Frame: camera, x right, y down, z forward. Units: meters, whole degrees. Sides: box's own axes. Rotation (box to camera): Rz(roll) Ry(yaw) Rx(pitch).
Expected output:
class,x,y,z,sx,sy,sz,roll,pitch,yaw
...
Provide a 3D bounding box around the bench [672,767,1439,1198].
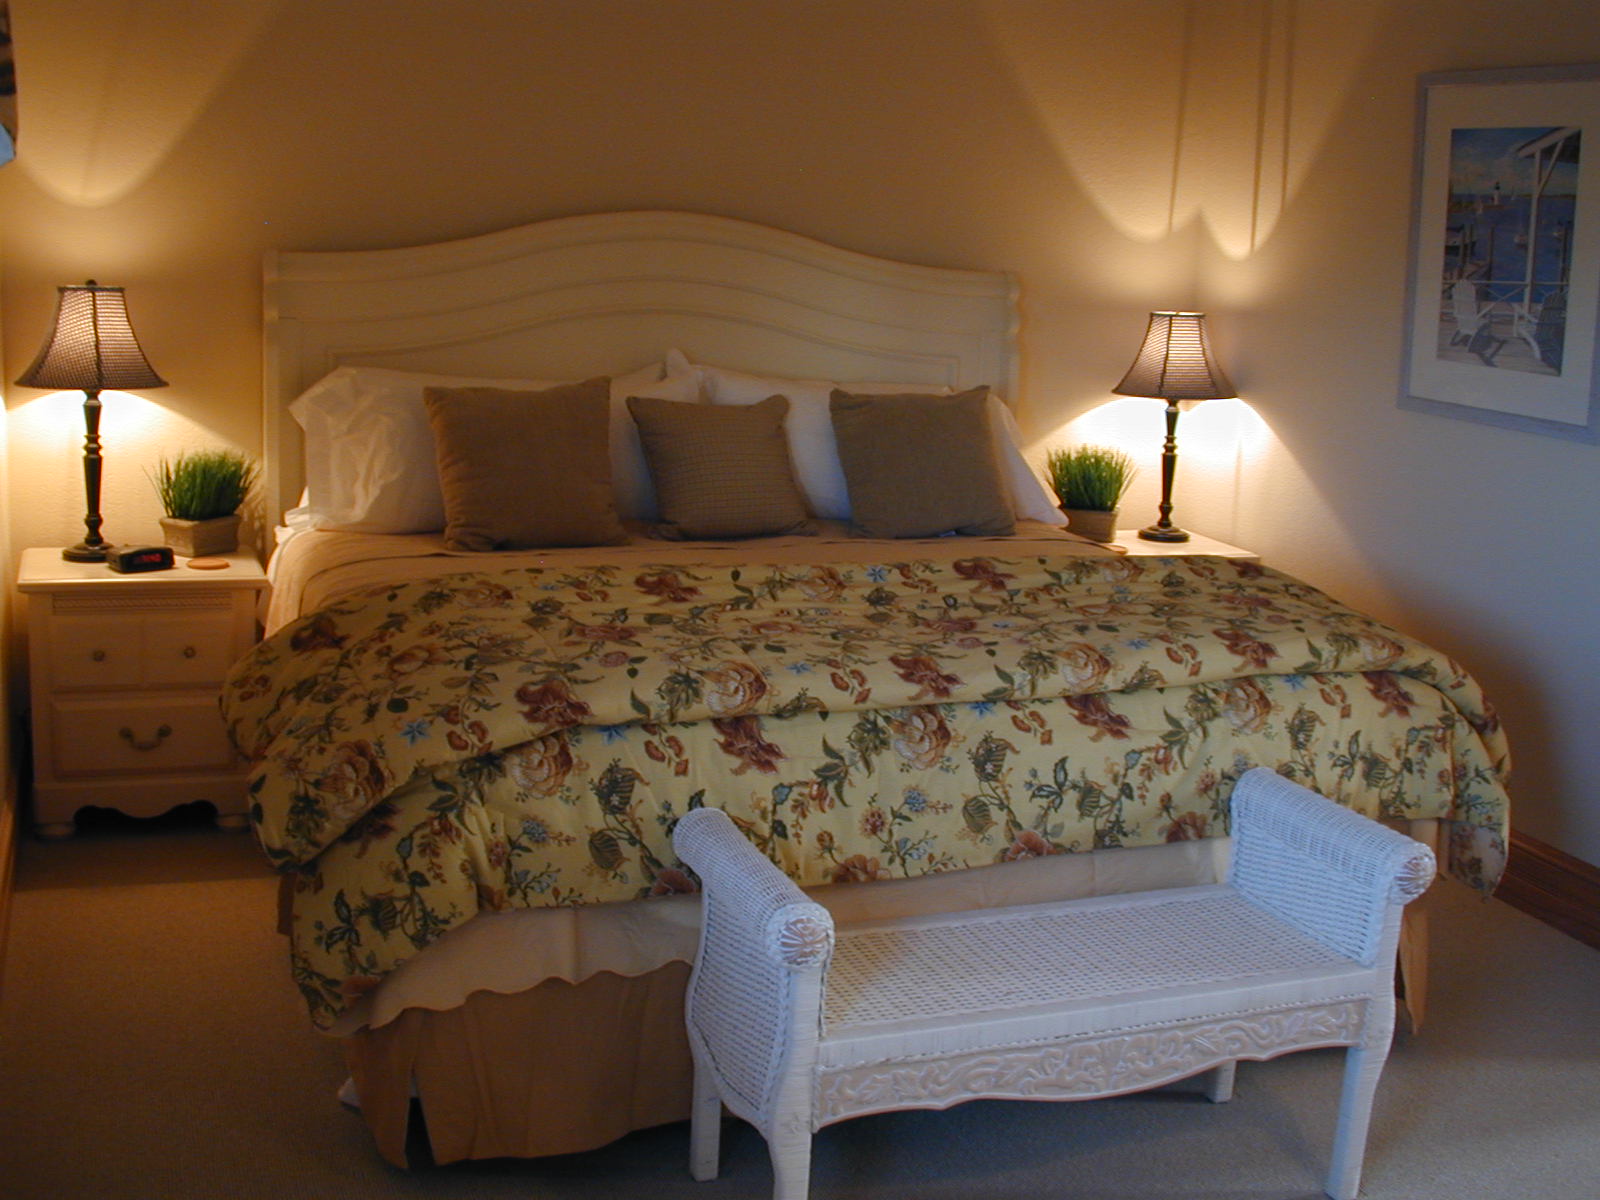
class,x,y,z,sx,sy,sz,roll,pitch,yaw
bench,0.485,0.772,2.418,1.347,0.819,0.413,-5,7,-15

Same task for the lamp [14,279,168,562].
class,x,y,z,sx,sy,sz,roll,pitch,yaw
lamp,-2.055,-0.524,3.781,0.328,0.809,0.240,-2,6,10

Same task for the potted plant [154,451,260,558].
class,x,y,z,sx,sy,sz,roll,pitch,yaw
potted plant,-1.823,-0.291,3.984,0.198,0.280,0.240,9,12,38

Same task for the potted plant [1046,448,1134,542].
class,x,y,z,sx,sy,sz,roll,pitch,yaw
potted plant,1.027,-0.402,4.728,0.348,0.370,0.317,7,10,44

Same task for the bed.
class,x,y,z,sx,sy,sz,roll,pitch,yaw
bed,-0.320,-0.325,3.470,2.613,1.800,2.610,-5,14,-21
